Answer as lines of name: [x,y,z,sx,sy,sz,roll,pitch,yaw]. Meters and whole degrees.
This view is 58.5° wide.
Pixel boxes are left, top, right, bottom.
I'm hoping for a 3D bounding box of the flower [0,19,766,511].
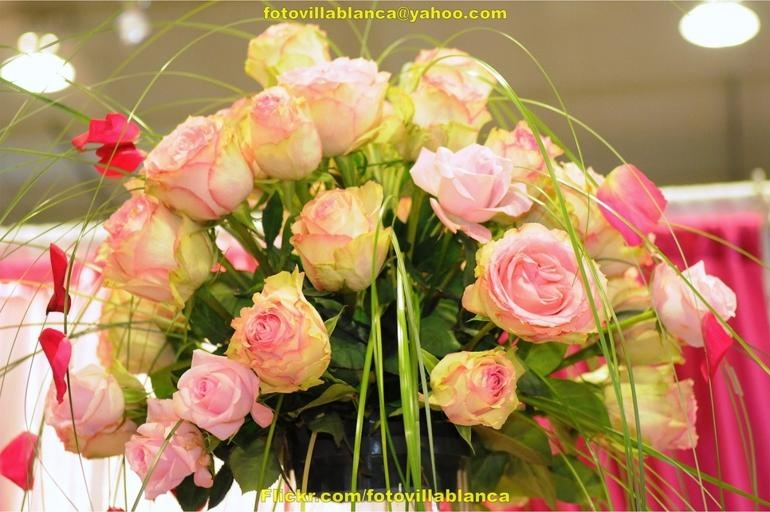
flower: [0.010,0.054,0.924,0.723,0.484,0.725,0,-1,16]
